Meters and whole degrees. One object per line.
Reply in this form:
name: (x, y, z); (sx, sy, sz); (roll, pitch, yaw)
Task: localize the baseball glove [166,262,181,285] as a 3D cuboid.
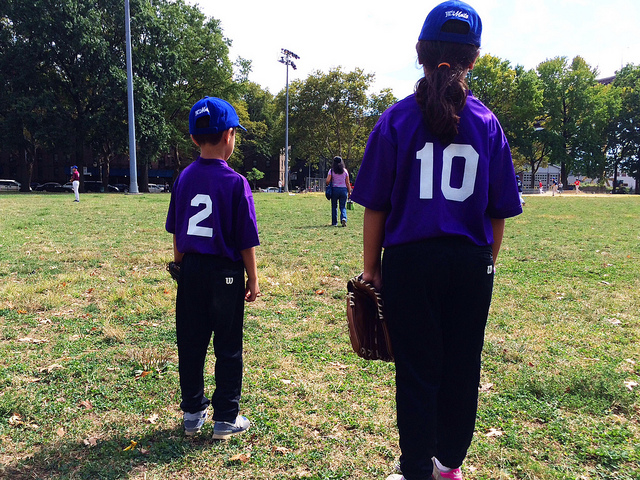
baseball glove: (-1.440, 0.322, 6.123); (0.098, 0.237, 0.371); (0, 6, -22)

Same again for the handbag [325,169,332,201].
handbag: (0.238, -1.391, 15.423); (0.134, 0.703, 0.410); (2, 5, -1)

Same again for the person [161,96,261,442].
person: (-1.037, 0.288, 6.049); (0.871, 3.287, 0.416); (2, 5, -6)
